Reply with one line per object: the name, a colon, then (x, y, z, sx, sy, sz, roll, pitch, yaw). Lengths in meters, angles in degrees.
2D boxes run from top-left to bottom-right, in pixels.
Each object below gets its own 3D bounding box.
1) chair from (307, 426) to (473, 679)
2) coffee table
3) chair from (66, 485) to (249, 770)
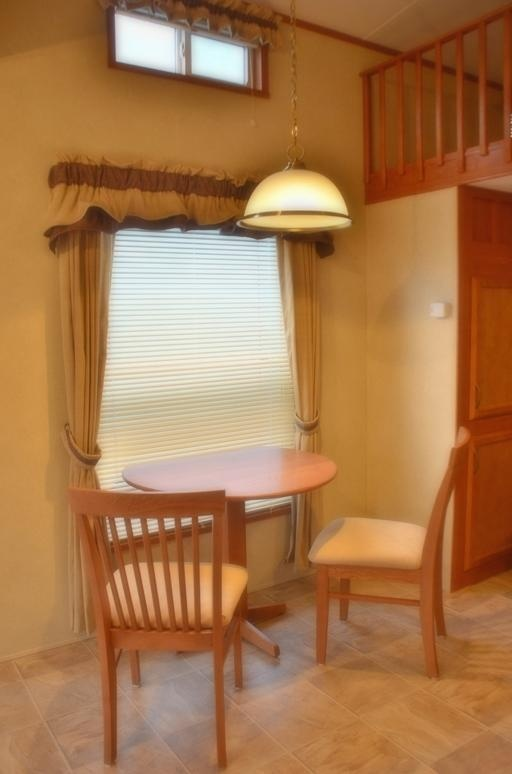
chair: (0.535, 0.648, 2.621, 0.555, 0.864, 0.505, 2, 4, 23)
coffee table: (-0.047, 0.627, 2.670, 0.764, 0.670, 0.788, 12, 21, 39)
chair: (-0.321, 0.816, 2.125, 0.566, 1.147, 0.564, 2, 27, 3)
